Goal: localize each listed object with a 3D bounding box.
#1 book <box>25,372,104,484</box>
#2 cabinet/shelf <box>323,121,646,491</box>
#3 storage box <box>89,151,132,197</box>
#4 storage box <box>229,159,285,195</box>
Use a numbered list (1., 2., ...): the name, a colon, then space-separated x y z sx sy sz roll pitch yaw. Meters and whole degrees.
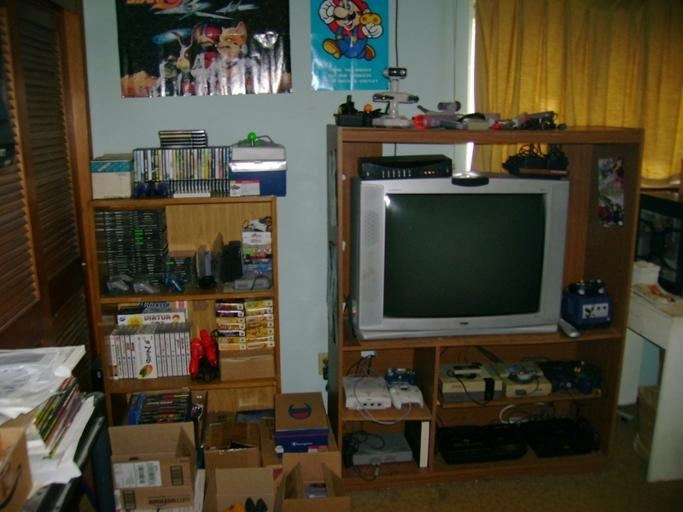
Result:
1. book: -0.834 0.553 1.894 0.087 0.203 0.269 9 27 -5
2. cabinet/shelf: 0.727 0.234 3.077 1.884 2.171 0.649 -2 15 -7
3. storage box: -1.097 -0.398 2.905 0.193 0.177 0.193 2 21 -6
4. storage box: -0.400 -0.411 2.896 0.257 0.168 0.178 0 12 -4
